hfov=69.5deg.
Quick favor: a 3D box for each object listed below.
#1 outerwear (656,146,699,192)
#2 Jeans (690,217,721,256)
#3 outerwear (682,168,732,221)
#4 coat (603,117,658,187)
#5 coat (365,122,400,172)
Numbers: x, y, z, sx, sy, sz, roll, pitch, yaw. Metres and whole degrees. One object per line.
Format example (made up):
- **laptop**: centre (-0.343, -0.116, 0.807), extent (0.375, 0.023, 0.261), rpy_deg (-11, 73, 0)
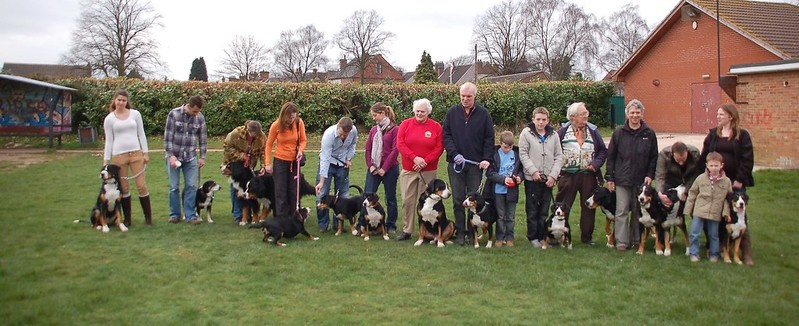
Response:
- **outerwear**: centre (12.633, 0.190, 26.285), extent (1.959, 2.050, 2.467), rpy_deg (4, -28, 23)
- **Jeans**: centre (13.602, 3.002, 25.882), extent (1.389, 2.393, 0.715), rpy_deg (0, 44, 16)
- **outerwear**: centre (13.636, 1.426, 25.471), extent (2.235, 2.150, 1.217), rpy_deg (11, -3, 11)
- **coat**: centre (10.501, -0.414, 26.132), extent (2.140, 2.916, 0.659), rpy_deg (0, 5, 17)
- **coat**: centre (-0.712, -0.745, 26.765), extent (1.490, 2.129, 0.554), rpy_deg (-1, 4, 3)
